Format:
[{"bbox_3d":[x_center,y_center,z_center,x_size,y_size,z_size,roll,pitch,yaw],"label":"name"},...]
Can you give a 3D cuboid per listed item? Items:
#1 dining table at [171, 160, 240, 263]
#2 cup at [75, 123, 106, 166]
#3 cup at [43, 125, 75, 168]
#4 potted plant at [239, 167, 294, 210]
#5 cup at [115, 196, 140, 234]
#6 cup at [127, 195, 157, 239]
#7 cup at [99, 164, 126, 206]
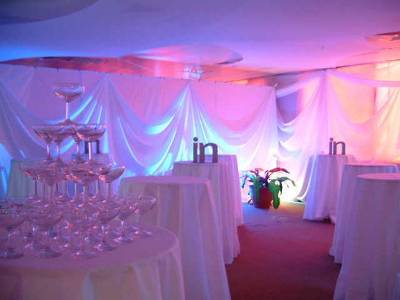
[{"bbox_3d":[-0.067,0.639,4.069,0.906,1.104,0.945,3,1,-7],"label":"dining table"},{"bbox_3d":[-0.716,-0.035,2.324,0.204,0.252,0.174,0,7,7],"label":"cup"},{"bbox_3d":[-0.960,-0.039,2.457,0.229,0.289,0.233,2,6,0],"label":"cup"},{"bbox_3d":[1.183,0.682,6.511,0.831,0.547,0.819,2,-4,-19],"label":"potted plant"},{"bbox_3d":[-0.447,0.413,2.267,0.196,0.218,0.195,2,-3,0],"label":"cup"},{"bbox_3d":[-0.386,0.426,2.336,0.217,0.246,0.212,-1,-5,0],"label":"cup"},{"bbox_3d":[-0.571,0.223,2.265,0.127,0.212,0.143,5,3,38],"label":"cup"}]
